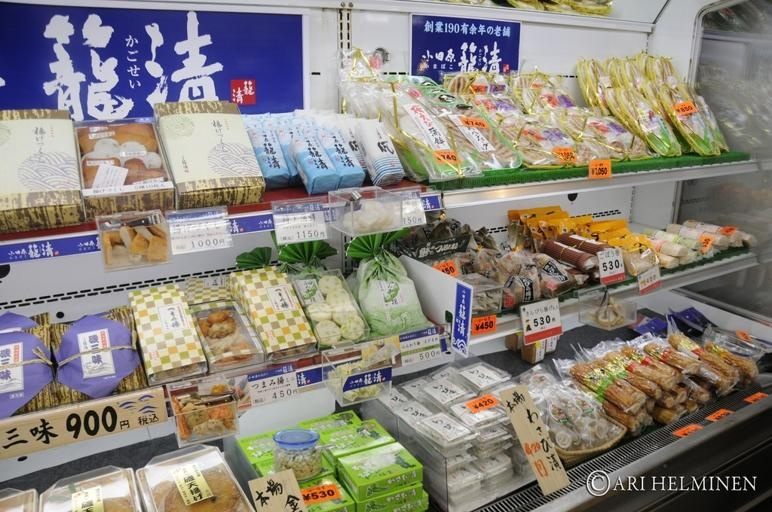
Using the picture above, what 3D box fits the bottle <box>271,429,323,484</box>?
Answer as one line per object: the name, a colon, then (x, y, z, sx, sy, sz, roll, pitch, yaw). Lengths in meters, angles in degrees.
bottle: (-0.376, 0.821, 2.008, 0.196, 0.158, 0.194, -6, 9, -42)
